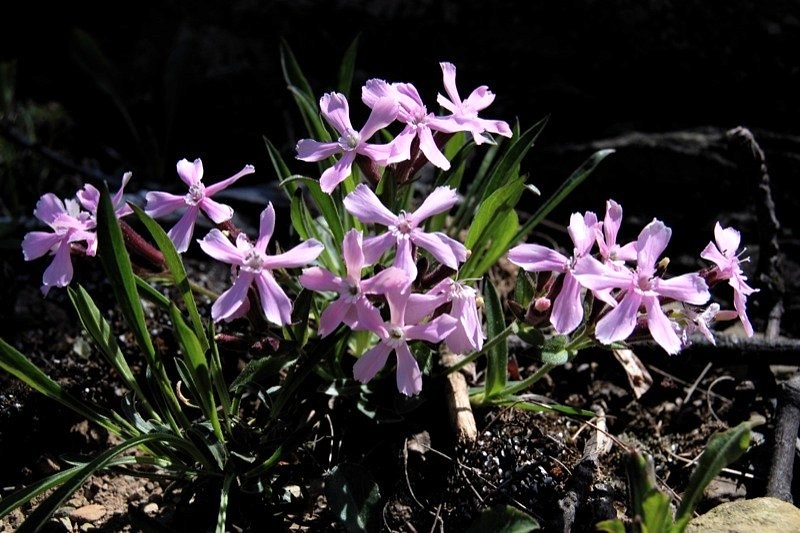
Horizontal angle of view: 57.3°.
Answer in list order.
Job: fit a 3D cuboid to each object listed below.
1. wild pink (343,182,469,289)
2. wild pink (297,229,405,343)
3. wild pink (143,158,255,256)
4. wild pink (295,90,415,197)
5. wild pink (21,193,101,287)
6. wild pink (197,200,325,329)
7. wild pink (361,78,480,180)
[{"bbox_3d":[0.036,-0.134,2.943,0.407,0.154,0.425,19,65,9],"label":"wild pink"},{"bbox_3d":[-0.186,0.060,2.897,0.408,0.405,0.111,-9,19,-8],"label":"wild pink"},{"bbox_3d":[-0.829,-0.231,3.140,0.417,0.167,0.427,9,61,4],"label":"wild pink"},{"bbox_3d":[-0.212,-0.530,3.065,0.440,0.365,0.252,-7,19,-3],"label":"wild pink"},{"bbox_3d":[-1.424,-0.110,3.076,0.292,0.371,0.275,-16,22,-27],"label":"wild pink"},{"bbox_3d":[-0.545,-0.006,2.940,0.391,0.476,0.193,4,32,-36],"label":"wild pink"},{"bbox_3d":[0.069,-0.572,3.143,0.480,0.185,0.439,-2,25,-34],"label":"wild pink"}]
